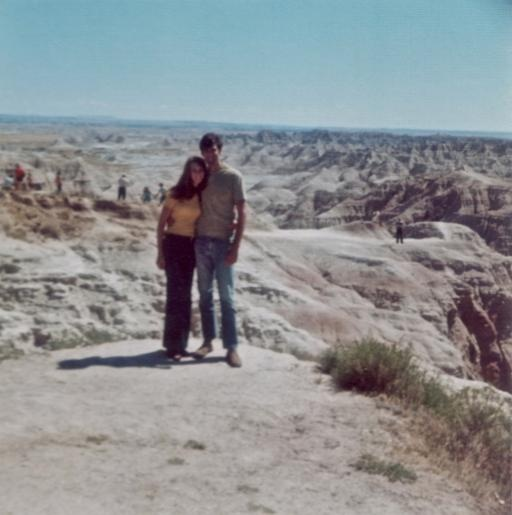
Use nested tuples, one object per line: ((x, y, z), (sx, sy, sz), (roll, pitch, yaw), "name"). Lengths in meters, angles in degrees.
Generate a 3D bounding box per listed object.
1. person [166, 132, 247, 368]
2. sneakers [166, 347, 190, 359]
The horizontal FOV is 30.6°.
((-0.297, -0.076, 8.187), (0.512, 2.026, 0.368), (6, 10, 5), "person")
((-0.695, 0.861, 8.340), (0.212, 0.090, 0.077), (-2, 1, 43), "sneakers")
